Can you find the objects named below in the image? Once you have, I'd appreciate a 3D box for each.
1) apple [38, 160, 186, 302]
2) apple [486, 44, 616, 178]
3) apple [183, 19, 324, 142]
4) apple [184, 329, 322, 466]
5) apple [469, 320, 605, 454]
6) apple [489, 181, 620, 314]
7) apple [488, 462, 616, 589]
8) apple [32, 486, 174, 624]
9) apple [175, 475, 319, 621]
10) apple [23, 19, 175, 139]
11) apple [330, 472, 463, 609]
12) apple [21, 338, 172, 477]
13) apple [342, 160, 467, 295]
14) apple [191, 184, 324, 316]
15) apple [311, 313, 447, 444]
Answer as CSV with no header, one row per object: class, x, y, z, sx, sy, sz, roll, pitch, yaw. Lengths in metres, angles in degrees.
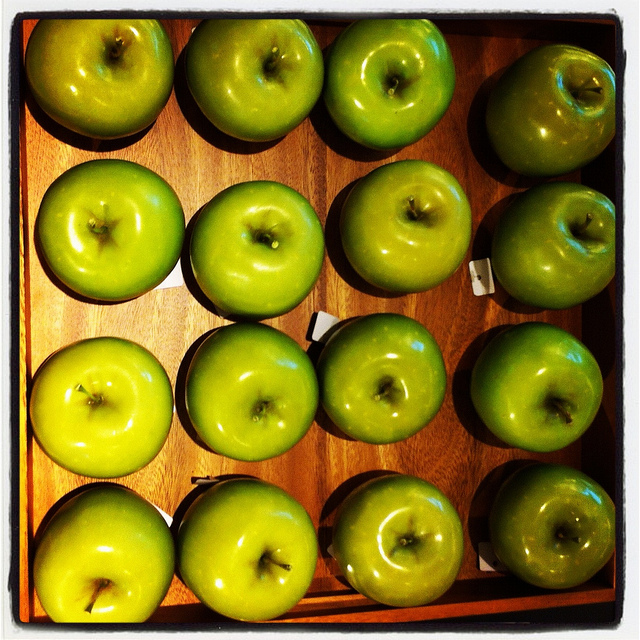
apple,-0.276,-0.120,0.993,0.140,0.096,0.219,0,-89,-12
apple,0.351,-0.314,1.180,0.143,0.204,0.209,-11,-82,2
apple,-0.090,-0.319,1.009,0.129,0.182,0.193,9,-86,5
apple,-0.091,0.105,1.014,0.135,0.158,0.213,-5,-89,-12
apple,0.324,0.068,1.151,0.141,0.203,0.223,-1,-85,8
apple,0.338,-0.076,1.174,0.159,0.198,0.185,32,-97,5
apple,0.353,0.276,1.169,0.133,0.175,0.210,-1,-86,-3
apple,-0.291,0.287,1.058,0.134,0.199,0.210,0,-79,-5
apple,-0.100,0.311,1.010,0.145,0.183,0.223,8,-96,-15
apple,-0.287,-0.327,0.984,0.135,0.099,0.190,-18,-90,-24
apple,0.109,0.297,1.134,0.136,0.156,0.212,6,-97,0
apple,-0.305,0.125,1.082,0.152,0.173,0.204,19,-94,-3
apple,0.119,-0.101,1.121,0.132,0.188,0.206,6,-91,-1
apple,-0.086,-0.096,1.011,0.129,0.167,0.203,-1,-90,-9
apple,0.085,0.071,1.072,0.141,0.160,0.211,-11,-87,-6
